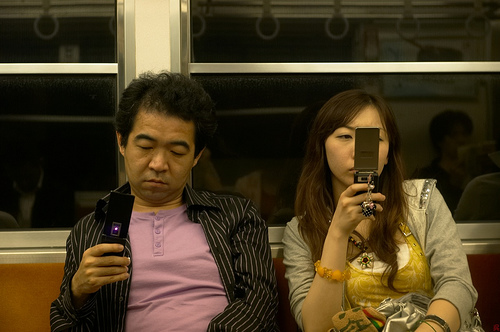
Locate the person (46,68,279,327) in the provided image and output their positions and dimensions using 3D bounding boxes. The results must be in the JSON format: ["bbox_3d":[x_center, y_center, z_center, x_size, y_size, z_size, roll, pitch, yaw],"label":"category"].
[{"bbox_3d":[-0.456,0.146,2.805,1.160,1.395,0.583,1,-2,-23],"label":"person"}]

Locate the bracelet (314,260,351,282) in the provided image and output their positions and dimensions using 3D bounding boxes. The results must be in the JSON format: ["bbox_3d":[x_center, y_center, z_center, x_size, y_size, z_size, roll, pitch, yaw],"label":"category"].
[{"bbox_3d":[0.424,0.541,2.693,0.142,0.055,0.126,2,-1,32],"label":"bracelet"}]

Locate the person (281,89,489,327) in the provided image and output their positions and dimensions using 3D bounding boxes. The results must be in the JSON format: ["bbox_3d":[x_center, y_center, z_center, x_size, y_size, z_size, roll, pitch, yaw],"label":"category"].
[{"bbox_3d":[0.693,0.205,2.781,0.957,1.276,0.558,0,-2,-6],"label":"person"}]
